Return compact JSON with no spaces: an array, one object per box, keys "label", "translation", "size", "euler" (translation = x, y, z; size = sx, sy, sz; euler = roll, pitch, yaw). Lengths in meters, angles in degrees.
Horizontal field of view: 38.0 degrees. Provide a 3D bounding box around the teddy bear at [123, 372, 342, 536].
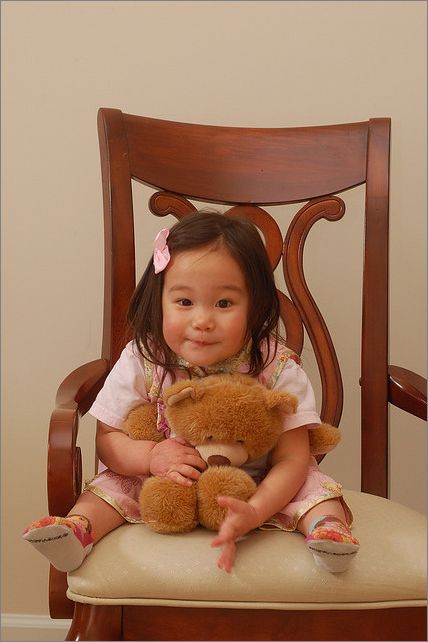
[{"label":"teddy bear","translation":[0.005,0.169,0.837],"size":[0.235,0.203,0.094],"euler":[4,-33,5]}]
